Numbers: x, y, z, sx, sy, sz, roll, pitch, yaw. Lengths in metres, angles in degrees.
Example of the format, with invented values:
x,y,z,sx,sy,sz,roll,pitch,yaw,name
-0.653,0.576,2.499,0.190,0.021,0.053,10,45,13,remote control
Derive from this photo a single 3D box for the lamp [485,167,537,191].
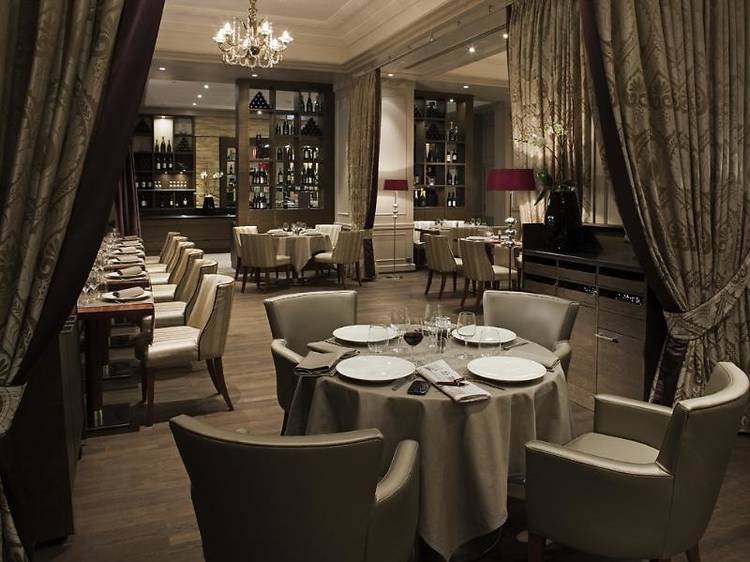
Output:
x,y,z,sx,sy,sz,roll,pitch,yaw,name
1.260,-0.927,5.093,0.282,0.136,0.301,5,10,30,lamp

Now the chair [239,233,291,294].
x,y,z,sx,sy,sz,roll,pitch,yaw,name
-1.890,-0.414,9.757,0.832,0.917,2.778,-1,8,-9,chair

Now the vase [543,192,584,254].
x,y,z,sx,sy,sz,roll,pitch,yaw,name
1.579,-0.508,4.676,0.283,0.484,0.273,0,17,32,vase

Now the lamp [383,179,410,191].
x,y,z,sx,sy,sz,roll,pitch,yaw,name
0.361,-1.731,10.102,0.418,0.182,0.508,0,8,-1,lamp

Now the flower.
x,y,z,sx,sy,sz,roll,pitch,yaw,name
1.523,-1.146,4.849,0.187,0.835,0.630,-20,24,-38,flower

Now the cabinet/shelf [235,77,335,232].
x,y,z,sx,sy,sz,roll,pitch,yaw,name
-1.723,-2.384,10.794,1.932,2.781,0.728,-2,8,-18,cabinet/shelf

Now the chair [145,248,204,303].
x,y,z,sx,sy,sz,roll,pitch,yaw,name
-2.088,-0.055,5.948,0.586,0.824,0.539,3,12,-8,chair

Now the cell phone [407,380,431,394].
x,y,z,sx,sy,sz,roll,pitch,yaw,name
0.201,0.484,2.513,0.092,0.032,0.139,3,8,19,cell phone

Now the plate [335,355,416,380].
x,y,z,sx,sy,sz,roll,pitch,yaw,name
0.002,0.428,2.677,0.368,0.062,0.285,3,9,23,plate

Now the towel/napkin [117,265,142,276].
x,y,z,sx,sy,sz,roll,pitch,yaw,name
-2.292,-0.079,5.195,0.169,0.062,0.129,-2,17,-22,towel/napkin

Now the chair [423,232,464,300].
x,y,z,sx,sy,sz,roll,pitch,yaw,name
1.086,-0.283,8.863,0.563,0.926,1.714,1,8,7,chair

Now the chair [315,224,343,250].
x,y,z,sx,sy,sz,roll,pitch,yaw,name
-0.834,-0.818,10.191,0.407,0.598,0.483,-1,-3,31,chair

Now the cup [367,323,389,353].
x,y,z,sx,sy,sz,roll,pitch,yaw,name
0.016,0.287,2.773,0.099,0.169,0.108,-1,6,0,cup

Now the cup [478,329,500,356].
x,y,z,sx,sy,sz,roll,pitch,yaw,name
0.570,0.301,2.716,0.098,0.148,0.100,-2,4,0,cup

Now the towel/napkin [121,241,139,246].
x,y,z,sx,sy,sz,roll,pitch,yaw,name
-3.462,-0.516,7.889,0.207,0.056,0.172,8,6,37,towel/napkin

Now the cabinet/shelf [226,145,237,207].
x,y,z,sx,sy,sz,roll,pitch,yaw,name
-3.687,-2.634,14.229,0.236,1.480,0.812,-2,8,-12,cabinet/shelf

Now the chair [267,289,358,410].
x,y,z,sx,sy,sz,roll,pitch,yaw,name
-0.332,0.411,3.595,0.565,0.891,0.736,0,-2,-13,chair

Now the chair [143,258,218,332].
x,y,z,sx,sy,sz,roll,pitch,yaw,name
-1.778,0.119,5.189,0.635,0.883,0.603,4,14,-11,chair

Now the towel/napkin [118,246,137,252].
x,y,z,sx,sy,sz,roll,pitch,yaw,name
-3.171,-0.392,7.133,0.135,0.078,0.229,1,12,-30,towel/napkin

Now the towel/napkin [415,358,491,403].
x,y,z,sx,sy,sz,roll,pitch,yaw,name
0.341,0.432,2.513,0.128,0.046,0.251,-9,14,-18,towel/napkin

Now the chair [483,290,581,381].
x,y,z,sx,sy,sz,roll,pitch,yaw,name
0.959,0.344,3.576,0.458,0.731,0.563,-1,-5,35,chair
